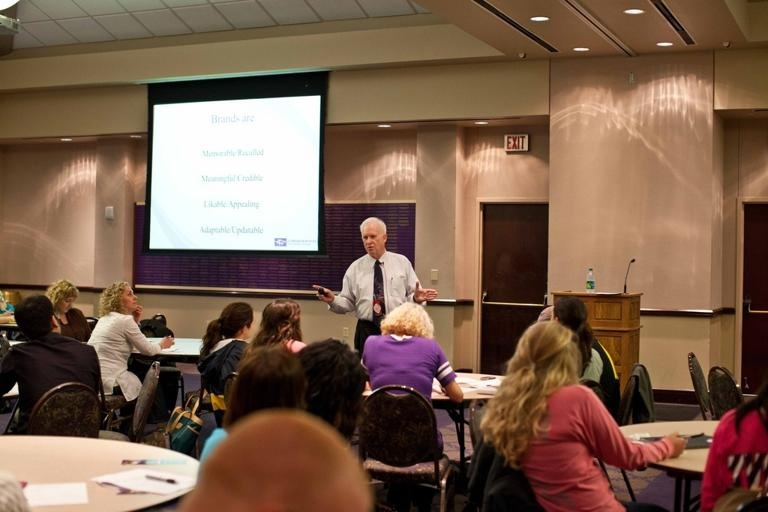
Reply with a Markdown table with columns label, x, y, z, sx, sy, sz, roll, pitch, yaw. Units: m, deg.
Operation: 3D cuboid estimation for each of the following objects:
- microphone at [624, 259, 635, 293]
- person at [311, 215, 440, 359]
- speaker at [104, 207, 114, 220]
| label | x | y | z | sx | sy | sz | roll | pitch | yaw |
| --- | --- | --- | --- | --- | --- | --- | --- | --- | --- |
| microphone | 3.080 | 0.234 | 7.693 | 0.221 | 0.437 | 0.144 | 6 | -7 | -44 |
| person | -0.052 | 0.287 | 6.698 | 1.427 | 2.386 | 0.842 | -4 | -20 | 7 |
| speaker | -4.541 | -0.706 | 9.988 | 0.181 | 0.232 | 0.059 | -1 | -5 | 25 |
